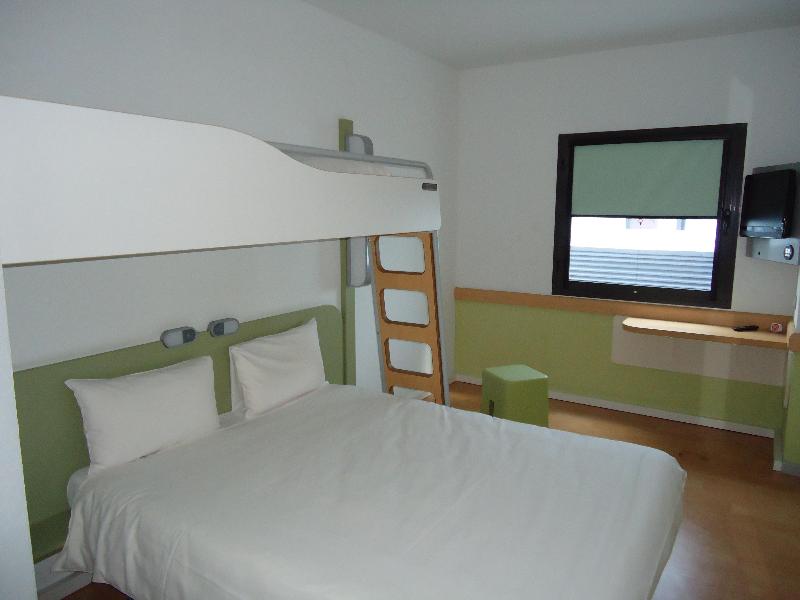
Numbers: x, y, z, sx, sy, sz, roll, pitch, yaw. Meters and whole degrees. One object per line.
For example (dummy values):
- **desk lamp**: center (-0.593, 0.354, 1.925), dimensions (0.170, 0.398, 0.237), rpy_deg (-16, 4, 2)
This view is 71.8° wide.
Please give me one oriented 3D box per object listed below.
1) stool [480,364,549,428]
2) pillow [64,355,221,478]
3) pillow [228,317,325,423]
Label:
- **stool**: center (0.935, 0.715, 4.453), dimensions (0.443, 0.483, 0.448), rpy_deg (-2, 6, -32)
- **pillow**: center (-1.443, 0.658, 3.032), dimensions (0.530, 0.356, 0.155), rpy_deg (-15, -11, -46)
- **pillow**: center (-0.853, 0.494, 3.722), dimensions (0.113, 0.390, 0.555), rpy_deg (-16, -1, 39)
